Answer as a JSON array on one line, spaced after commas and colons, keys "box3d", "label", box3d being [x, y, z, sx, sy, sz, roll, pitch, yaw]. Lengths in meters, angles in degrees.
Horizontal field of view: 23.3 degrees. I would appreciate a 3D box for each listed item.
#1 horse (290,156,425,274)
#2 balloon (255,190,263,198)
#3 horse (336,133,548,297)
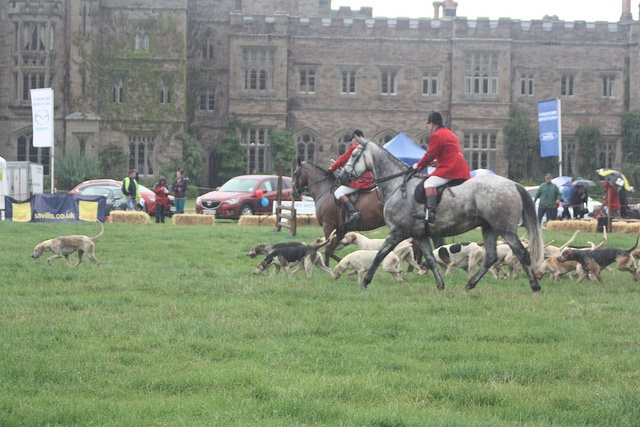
[{"box3d": [2.485, 0.223, 96.560, 10.178, 6.990, 2.700, 4, 12, 33], "label": "horse"}, {"box3d": [-4.194, -1.428, 109.356, 0.461, 0.478, 0.475, -7, 10, 3], "label": "balloon"}, {"box3d": [7.284, 0.338, 94.677, 12.807, 8.869, 3.632, 2, -2, 8], "label": "horse"}]
